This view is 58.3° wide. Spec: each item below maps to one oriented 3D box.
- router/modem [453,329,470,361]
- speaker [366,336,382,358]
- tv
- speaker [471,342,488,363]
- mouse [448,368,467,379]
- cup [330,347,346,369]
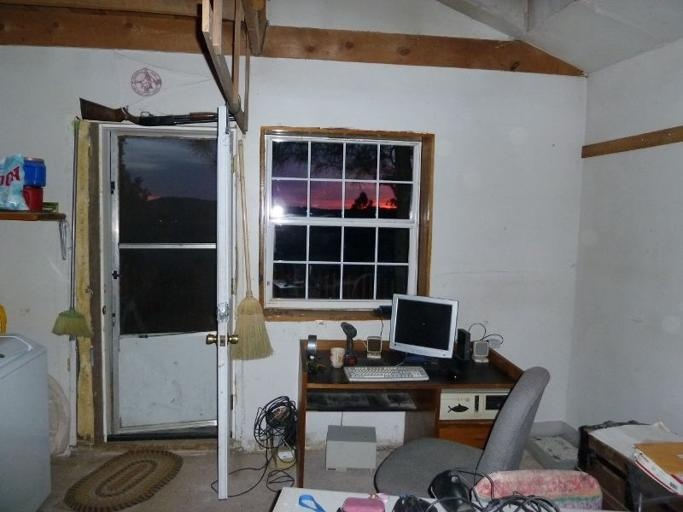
[{"bbox_3d":[0.967,0.719,4.935,0.084,0.288,0.254,0,4,-9],"label":"router/modem"},{"bbox_3d":[0.255,0.724,4.934,0.166,0.243,0.133,0,-4,-1],"label":"speaker"},{"bbox_3d":[0.647,0.563,4.854,0.435,0.463,0.061,6,-1,16],"label":"tv"},{"bbox_3d":[1.125,0.772,4.941,0.128,0.191,0.146,0,-2,-1],"label":"speaker"},{"bbox_3d":[0.877,0.893,4.674,0.076,0.036,0.108,0,6,0],"label":"mouse"},{"bbox_3d":[-0.033,0.784,4.743,0.132,0.133,0.112,0,2,-2],"label":"cup"}]
